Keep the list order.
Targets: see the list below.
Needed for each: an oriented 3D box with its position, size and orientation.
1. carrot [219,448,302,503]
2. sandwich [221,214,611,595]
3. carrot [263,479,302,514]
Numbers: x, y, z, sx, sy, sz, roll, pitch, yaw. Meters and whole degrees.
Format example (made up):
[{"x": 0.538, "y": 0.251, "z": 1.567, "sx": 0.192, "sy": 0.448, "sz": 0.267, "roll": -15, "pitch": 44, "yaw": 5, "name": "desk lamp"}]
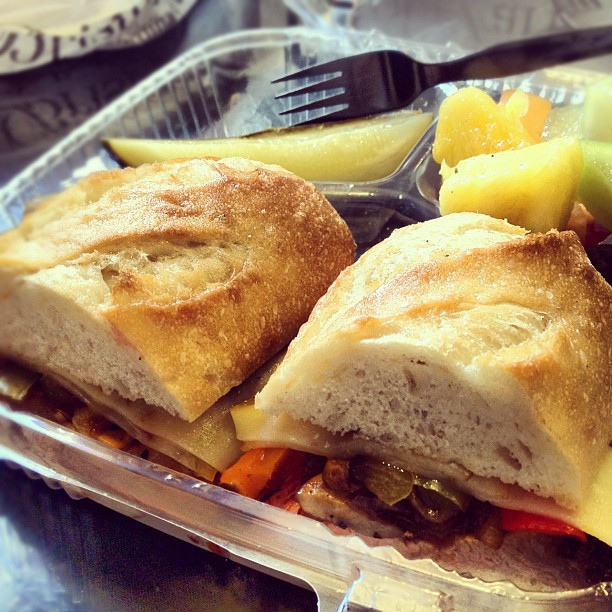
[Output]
[{"x": -0.079, "y": 0.300, "z": 1.332, "sx": 0.106, "sy": 0.038, "sz": 0.131, "roll": 22, "pitch": 58, "yaw": 32, "name": "carrot"}, {"x": 0.225, "y": 0.143, "z": 1.245, "sx": 0.658, "sy": 0.398, "sz": 0.542, "roll": 8, "pitch": 45, "yaw": 23, "name": "sandwich"}, {"x": -0.039, "y": 0.352, "z": 1.311, "sx": 0.061, "sy": 0.015, "sz": 0.057, "roll": 3, "pitch": 42, "yaw": 38, "name": "carrot"}]
